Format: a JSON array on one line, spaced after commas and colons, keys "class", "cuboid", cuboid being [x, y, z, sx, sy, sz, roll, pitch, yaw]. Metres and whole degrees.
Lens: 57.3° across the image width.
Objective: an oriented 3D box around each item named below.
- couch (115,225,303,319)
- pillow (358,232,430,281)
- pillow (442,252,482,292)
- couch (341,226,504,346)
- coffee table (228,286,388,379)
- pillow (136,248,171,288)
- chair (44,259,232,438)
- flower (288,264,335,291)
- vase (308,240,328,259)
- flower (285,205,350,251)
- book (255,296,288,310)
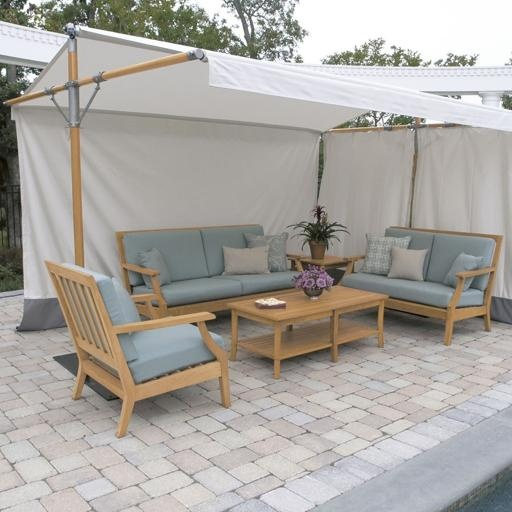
[{"class": "couch", "cuboid": [-0.455, 0.153, 5.362, 0.917, 0.779, 2.133, 22, 21, 40]}, {"class": "pillow", "cuboid": [1.658, -0.006, 5.665, 0.745, 0.569, 0.502, 3, 4, 29]}, {"class": "pillow", "cuboid": [2.156, 0.149, 4.832, 0.381, 0.345, 0.252, -2, 8, -20]}, {"class": "couch", "cuboid": [1.942, 0.160, 5.294, 1.351, 1.189, 2.076, -3, 5, -34]}, {"class": "coffee table", "cuboid": [0.461, 0.621, 4.165, 1.319, 0.532, 0.624, -5, 8, -38]}, {"class": "pillow", "cuboid": [-1.070, 0.117, 4.921, 0.291, 0.378, 0.506, 3, 3, 8]}, {"class": "chair", "cuboid": [-0.710, 0.423, 3.135, 1.091, 0.988, 1.092, -3, 12, -36]}, {"class": "flower", "cuboid": [0.542, 0.188, 4.153, 0.318, 0.163, 0.246, -6, 14, -25]}, {"class": "vase", "cuboid": [0.825, -0.077, 6.315, 0.284, 0.178, 0.249, 1, 2, -21]}, {"class": "flower", "cuboid": [0.767, -0.379, 6.627, 0.887, 0.482, 0.833, 1, 3, 30]}, {"class": "book", "cuboid": [0.118, 0.391, 3.933, 0.254, 0.051, 0.319, 0, 5, 0]}]
